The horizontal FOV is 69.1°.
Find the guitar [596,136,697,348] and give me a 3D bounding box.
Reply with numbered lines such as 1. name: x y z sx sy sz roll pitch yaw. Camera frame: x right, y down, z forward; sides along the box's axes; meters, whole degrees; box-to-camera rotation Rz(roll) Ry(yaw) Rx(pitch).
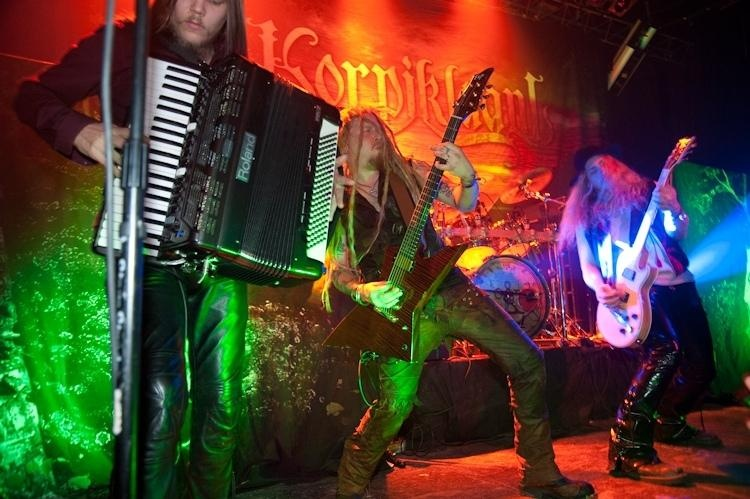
1. guitar: 2.315 0.026 4.633 0.771 1.810 0.388 -4 -1 -4

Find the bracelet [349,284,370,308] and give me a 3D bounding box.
1. bracelet: -0.091 0.346 3.967 0.146 0.125 0.154 -10 -16 24

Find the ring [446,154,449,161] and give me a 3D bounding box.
1. ring: 0.541 -0.673 4.035 0.007 0.022 0.031 26 18 -17

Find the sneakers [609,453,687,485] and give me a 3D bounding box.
1. sneakers: 2.056 1.649 4.140 0.430 0.158 0.224 -11 -17 33

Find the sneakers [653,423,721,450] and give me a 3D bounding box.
1. sneakers: 2.791 1.674 4.908 0.570 0.206 0.204 -4 -6 15

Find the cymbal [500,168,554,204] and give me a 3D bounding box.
1. cymbal: 2.091 -0.907 7.400 0.563 0.128 0.560 -19 -33 -32

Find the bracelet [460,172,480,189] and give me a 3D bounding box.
1. bracelet: 0.759 -0.539 4.265 0.135 0.083 0.031 -26 21 -27

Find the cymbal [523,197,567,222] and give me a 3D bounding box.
1. cymbal: 2.260 -0.502 7.228 0.572 0.308 0.390 -1 -10 28
